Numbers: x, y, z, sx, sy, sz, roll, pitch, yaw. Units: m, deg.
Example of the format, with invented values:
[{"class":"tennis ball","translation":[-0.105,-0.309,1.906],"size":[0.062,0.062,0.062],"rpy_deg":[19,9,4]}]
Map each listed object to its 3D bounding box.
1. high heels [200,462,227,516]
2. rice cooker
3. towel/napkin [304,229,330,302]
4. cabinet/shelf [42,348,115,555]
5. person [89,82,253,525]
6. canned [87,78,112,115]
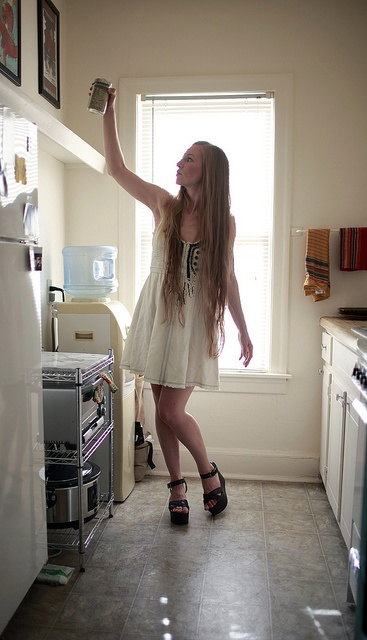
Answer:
[{"class":"high heels","translation":[0.142,0.759,2.029],"size":[0.098,0.172,0.222],"rpy_deg":[0,2,-4]},{"class":"rice cooker","translation":[-0.385,0.599,1.653],"size":[0.189,0.215,0.200],"rpy_deg":[-1,2,0]},{"class":"towel/napkin","translation":[0.668,-0.267,2.276],"size":[0.122,0.360,0.065],"rpy_deg":[2,5,1]},{"class":"cabinet/shelf","translation":[-0.386,0.481,1.641],"size":[0.215,0.777,0.565],"rpy_deg":[0,8,0]},{"class":"person","translation":[-0.020,0.000,1.848],"size":[0.620,1.709,0.377],"rpy_deg":[1,-1,-6]},{"class":"canned","translation":[-0.311,-0.812,1.671],"size":[0.076,0.128,0.088],"rpy_deg":[1,-1,-12]}]
